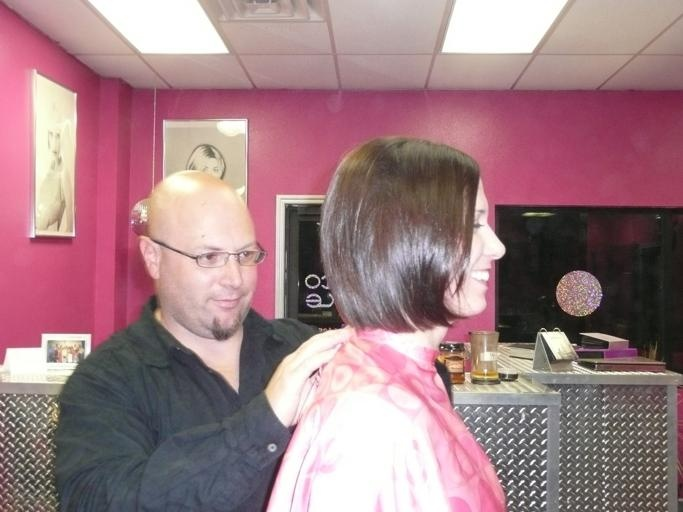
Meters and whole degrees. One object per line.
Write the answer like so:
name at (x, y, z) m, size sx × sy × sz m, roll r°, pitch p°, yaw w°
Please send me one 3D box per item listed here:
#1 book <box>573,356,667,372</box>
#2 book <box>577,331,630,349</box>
book at (1.550, 0.596, 3.385) m, size 0.455 × 0.066 × 0.165 m, roll 0°, pitch 1°, yaw -1°
book at (1.497, 0.489, 3.529) m, size 0.199 × 0.057 × 0.183 m, roll 3°, pitch -1°, yaw -41°
